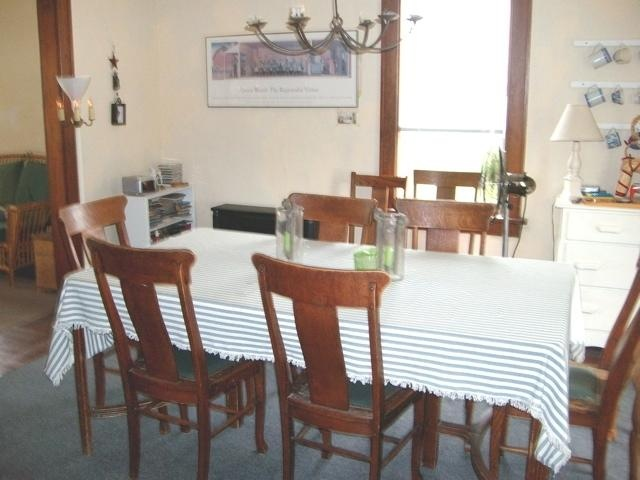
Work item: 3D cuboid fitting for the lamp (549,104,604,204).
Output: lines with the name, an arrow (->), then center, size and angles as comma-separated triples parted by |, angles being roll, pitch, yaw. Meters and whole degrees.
lamp -> 1.960, -0.673, 4.009 | 0.350, 0.753, 0.568 | 5, 12, 24

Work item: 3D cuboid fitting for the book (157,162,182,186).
book -> -1.521, -0.687, 5.313 | 0.261, 0.280, 0.214 | 7, 17, 21

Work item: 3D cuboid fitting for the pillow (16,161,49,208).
pillow -> -3.055, -0.588, 5.556 | 0.427, 0.458, 0.198 | 3, 3, -30

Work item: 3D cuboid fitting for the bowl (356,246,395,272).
bowl -> 0.266, 0.078, 2.598 | 0.124, 0.084, 0.130 | 1, 14, 0

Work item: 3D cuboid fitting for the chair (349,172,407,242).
chair -> 0.551, -0.325, 4.637 | 0.418, 0.765, 0.446 | 3, 6, 19

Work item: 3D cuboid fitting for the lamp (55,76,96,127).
lamp -> -1.908, -1.095, 4.078 | 0.241, 0.410, 1.146 | -5, 12, -23

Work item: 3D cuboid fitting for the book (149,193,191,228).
book -> -1.473, -0.301, 5.086 | 0.250, 0.118, 0.338 | 6, 13, 27

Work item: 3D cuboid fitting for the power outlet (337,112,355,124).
power outlet -> 0.246, -1.124, 4.801 | 0.173, 0.129, 0.099 | 2, 6, 16
